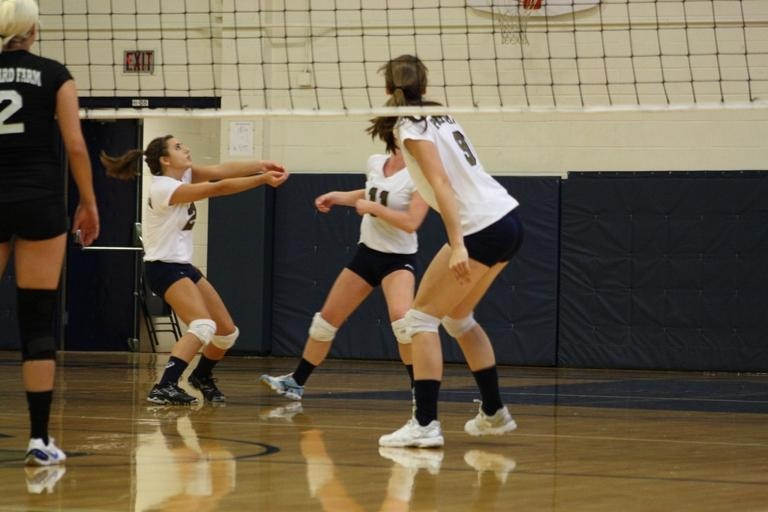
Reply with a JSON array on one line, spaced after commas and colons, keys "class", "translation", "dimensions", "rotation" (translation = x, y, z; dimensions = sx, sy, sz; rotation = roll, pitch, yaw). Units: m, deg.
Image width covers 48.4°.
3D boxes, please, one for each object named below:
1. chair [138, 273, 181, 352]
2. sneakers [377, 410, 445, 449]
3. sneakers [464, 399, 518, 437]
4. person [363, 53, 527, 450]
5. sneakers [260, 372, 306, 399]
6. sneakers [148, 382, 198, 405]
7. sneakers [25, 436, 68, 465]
[{"class": "chair", "translation": [-2.792, 0.612, 10.334], "dimensions": [0.619, 0.844, 0.589], "rotation": [-12, -9, -19]}, {"class": "sneakers", "translation": [0.198, 1.098, 5.347], "dimensions": [0.451, 0.206, 0.162], "rotation": [1, -12, 9]}, {"class": "sneakers", "translation": [0.752, 1.067, 5.575], "dimensions": [0.439, 0.291, 0.145], "rotation": [0, -1, 10]}, {"class": "person", "translation": [0.386, -0.010, 5.253], "dimensions": [0.950, 2.422, 0.632], "rotation": [3, 9, 8]}, {"class": "sneakers", "translation": [-0.768, 1.003, 6.744], "dimensions": [0.371, 0.176, 0.154], "rotation": [25, -6, -4]}, {"class": "sneakers", "translation": [-1.578, 1.030, 6.448], "dimensions": [0.421, 0.196, 0.140], "rotation": [3, -3, -7]}, {"class": "sneakers", "translation": [-1.950, 1.129, 4.969], "dimensions": [0.110, 0.125, 0.278], "rotation": [-1, -3, 21]}]
